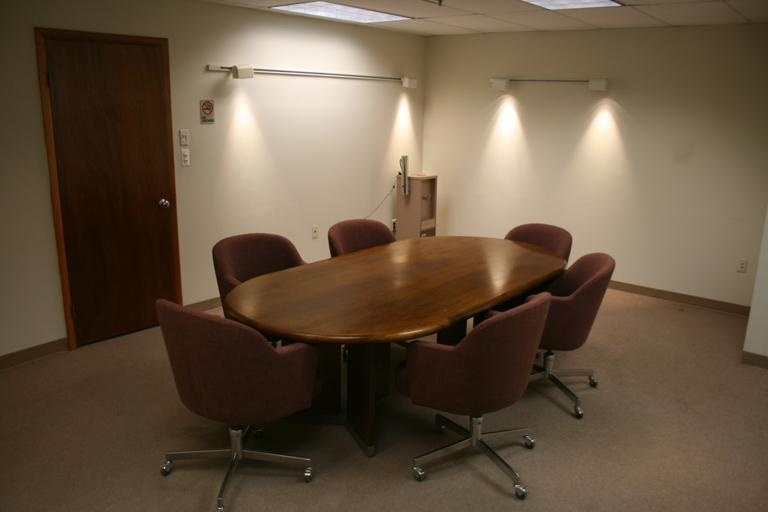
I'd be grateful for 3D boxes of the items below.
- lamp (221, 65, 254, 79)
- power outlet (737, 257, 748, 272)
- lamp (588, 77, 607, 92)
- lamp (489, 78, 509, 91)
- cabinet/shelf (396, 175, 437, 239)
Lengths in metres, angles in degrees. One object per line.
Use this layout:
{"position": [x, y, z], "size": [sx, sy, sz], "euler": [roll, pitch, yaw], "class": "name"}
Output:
{"position": [-1.538, -1.982, 5.808], "size": [0.261, 0.138, 0.262], "euler": [-10, 21, -33], "class": "lamp"}
{"position": [4.000, 0.090, 6.031], "size": [0.124, 0.179, 0.017], "euler": [13, 13, 26], "class": "power outlet"}
{"position": [2.567, -2.062, 6.490], "size": [0.161, 0.111, 0.168], "euler": [2, 11, 21], "class": "lamp"}
{"position": [1.532, -2.297, 7.204], "size": [0.261, 0.164, 0.196], "euler": [7, 19, 18], "class": "lamp"}
{"position": [0.460, -0.644, 7.938], "size": [0.480, 1.099, 0.523], "euler": [11, 16, 36], "class": "cabinet/shelf"}
